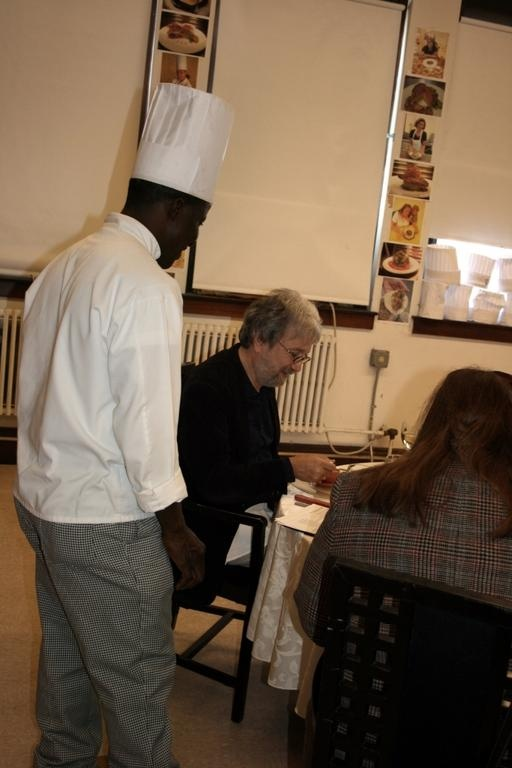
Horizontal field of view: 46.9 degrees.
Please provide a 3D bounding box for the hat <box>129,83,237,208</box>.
[{"bbox_3d":[-0.131,-0.501,1.225,0.180,0.231,0.156,6,-8,-34],"label":"hat"}]

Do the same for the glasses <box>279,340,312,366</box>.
[{"bbox_3d":[0.118,-0.090,1.874,0.083,0.025,0.080,56,19,14],"label":"glasses"}]

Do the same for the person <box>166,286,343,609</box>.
[{"bbox_3d":[-0.013,0.355,1.954,0.597,1.284,0.479,7,14,15],"label":"person"}]
